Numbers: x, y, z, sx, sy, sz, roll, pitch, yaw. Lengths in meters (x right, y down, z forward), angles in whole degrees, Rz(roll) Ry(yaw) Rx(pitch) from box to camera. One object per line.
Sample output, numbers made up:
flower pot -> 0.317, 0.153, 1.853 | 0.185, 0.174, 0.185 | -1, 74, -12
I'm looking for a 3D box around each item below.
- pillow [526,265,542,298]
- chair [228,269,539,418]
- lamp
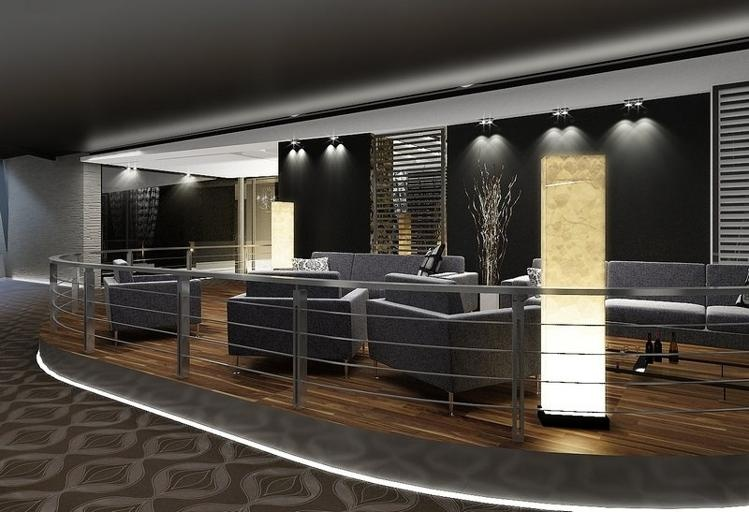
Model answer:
pillow -> 1.491, 0.234, 4.575 | 0.125, 0.292, 0.307 | -9, 9, 12
chair -> 0.029, 0.639, 4.066 | 2.459, 0.764, 0.829 | 2, 1, 25
lamp -> 1.398, 0.239, 3.417 | 0.502, 1.700, 0.435 | 2, 1, 18
